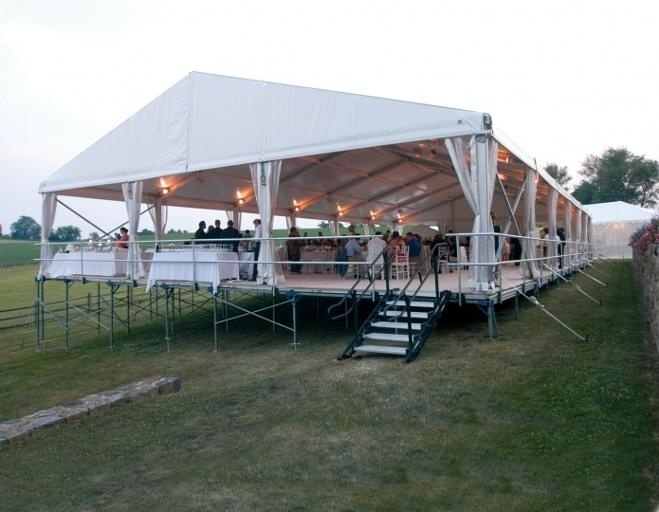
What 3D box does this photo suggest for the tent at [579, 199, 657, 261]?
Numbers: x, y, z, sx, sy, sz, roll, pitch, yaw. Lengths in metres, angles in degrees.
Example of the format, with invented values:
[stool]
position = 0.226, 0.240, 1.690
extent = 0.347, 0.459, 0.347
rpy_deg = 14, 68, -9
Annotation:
[tent]
position = 14.694, -1.270, 24.876
extent = 3.753, 2.689, 3.797
rpy_deg = 1, 3, 26
